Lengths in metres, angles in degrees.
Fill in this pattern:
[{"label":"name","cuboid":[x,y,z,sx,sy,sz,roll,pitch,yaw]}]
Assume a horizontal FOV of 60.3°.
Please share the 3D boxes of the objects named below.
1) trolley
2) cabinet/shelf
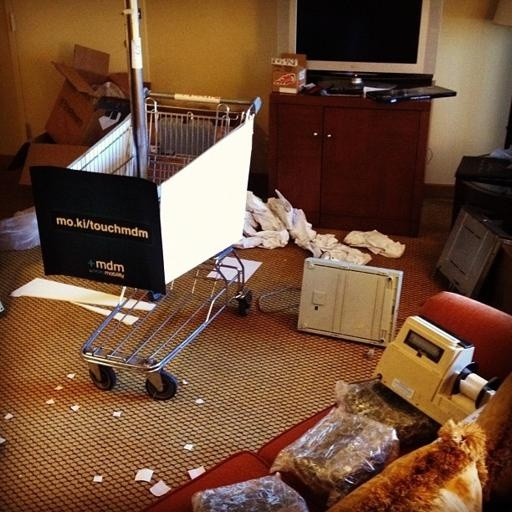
[{"label":"trolley","cuboid":[-0.414,-0.148,2.123,0.590,1.000,1.009,9,32,15]},{"label":"cabinet/shelf","cuboid":[0.703,-0.721,3.302,1.093,0.978,0.415,7,26,8]}]
